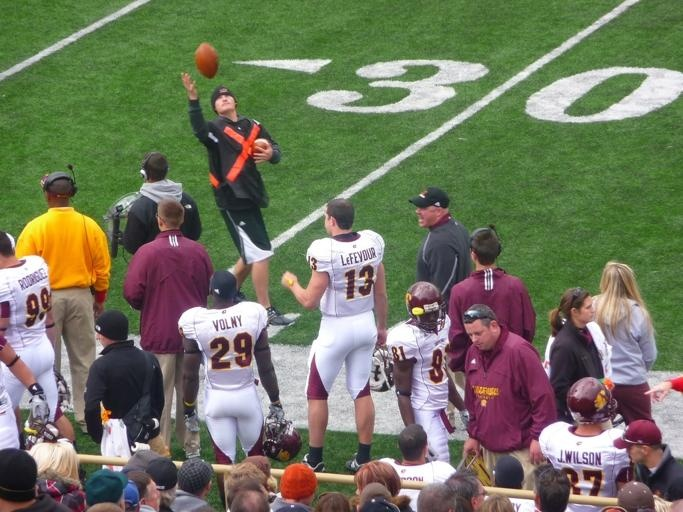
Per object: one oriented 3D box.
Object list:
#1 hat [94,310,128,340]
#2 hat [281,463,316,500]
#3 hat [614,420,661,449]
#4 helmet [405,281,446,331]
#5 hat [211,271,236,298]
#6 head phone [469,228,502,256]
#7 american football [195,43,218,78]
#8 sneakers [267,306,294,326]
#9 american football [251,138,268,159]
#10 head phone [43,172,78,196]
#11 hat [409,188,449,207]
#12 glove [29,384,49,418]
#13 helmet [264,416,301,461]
[{"bbox_3d":[-2.511,0.731,15.802,0.371,0.270,0.286,10,25,22],"label":"hat"},{"bbox_3d":[-0.398,2.298,14.671,0.493,0.283,0.364,-4,4,24],"label":"hat"},{"bbox_3d":[3.150,1.849,14.997,0.428,0.226,0.268,1,14,10],"label":"hat"},{"bbox_3d":[0.944,0.517,16.014,0.393,0.427,0.542,-19,33,-28],"label":"helmet"},{"bbox_3d":[-1.331,0.307,15.810,0.297,0.317,0.238,-5,13,-1],"label":"hat"},{"bbox_3d":[1.702,-0.165,16.348,0.289,0.327,0.365,-17,47,-9],"label":"head phone"},{"bbox_3d":[-1.818,-2.761,19.521,0.305,0.461,0.326,15,-28,-27],"label":"american football"},{"bbox_3d":[-0.859,0.793,18.991,0.487,0.174,0.161,13,23,11],"label":"sneakers"},{"bbox_3d":[-1.073,-1.434,18.663,0.214,0.212,0.189,-12,28,0],"label":"american football"},{"bbox_3d":[-3.414,-0.897,17.121,0.283,0.345,0.325,-14,-28,-26],"label":"head phone"},{"bbox_3d":[1.089,-0.721,16.926,0.385,0.178,0.232,0,14,-3],"label":"hat"},{"bbox_3d":[-3.387,1.603,15.825,0.198,0.416,0.305,-8,13,-13],"label":"glove"},{"bbox_3d":[-0.698,2.081,16.255,0.531,0.413,0.402,6,-1,18],"label":"helmet"}]
